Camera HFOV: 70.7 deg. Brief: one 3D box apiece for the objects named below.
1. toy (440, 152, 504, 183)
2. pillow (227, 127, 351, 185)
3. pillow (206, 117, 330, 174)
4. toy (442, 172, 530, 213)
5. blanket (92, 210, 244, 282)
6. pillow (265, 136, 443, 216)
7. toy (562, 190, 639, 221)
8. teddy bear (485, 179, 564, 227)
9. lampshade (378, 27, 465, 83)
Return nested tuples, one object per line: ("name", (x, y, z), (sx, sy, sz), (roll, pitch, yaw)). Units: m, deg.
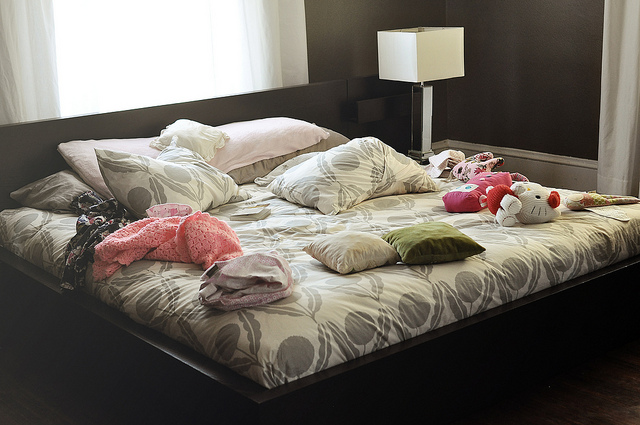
("toy", (1.056, -0.302, 3.173), (0.417, 0.122, 0.392), (0, 24, 47))
("pillow", (-0.281, -0.314, 3.258), (0.564, 0.164, 0.511), (0, 18, 42))
("pillow", (-0.389, -0.530, 3.297), (0.567, 0.136, 0.494), (-22, 23, -35))
("toy", (0.962, -0.152, 2.692), (0.253, 0.141, 0.469), (11, 25, 44))
("blanket", (-0.693, 0.145, 2.061), (0.410, 0.146, 0.489), (11, 18, 40))
("pillow", (0.234, -0.247, 2.871), (0.742, 0.234, 0.561), (-10, 16, -29))
("toy", (1.537, -0.041, 2.470), (0.238, 0.061, 0.217), (-1, 15, -16))
("teddy bear", (1.100, -0.053, 2.403), (0.295, 0.131, 0.288), (0, 12, -8))
("lampshade", (0.889, -1.264, 3.941), (0.611, 0.394, 0.595), (-13, 18, -28))
